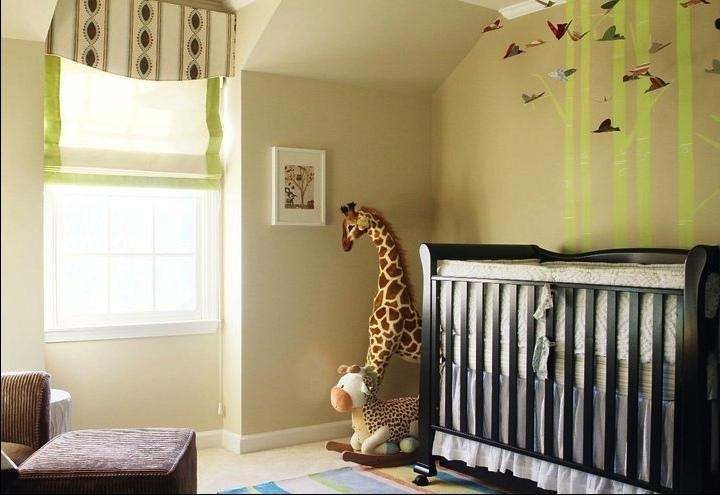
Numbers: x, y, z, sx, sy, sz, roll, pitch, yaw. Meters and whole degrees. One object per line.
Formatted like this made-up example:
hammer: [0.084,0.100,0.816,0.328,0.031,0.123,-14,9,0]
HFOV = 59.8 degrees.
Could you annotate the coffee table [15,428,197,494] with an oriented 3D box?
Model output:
coffee table: [-1.153,1.047,2.911,0.736,0.272,0.454,0,1,-9]

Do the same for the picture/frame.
picture/frame: [-0.431,-0.429,4.223,0.516,0.733,0.077,0,-3,-31]

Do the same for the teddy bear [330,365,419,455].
teddy bear: [0.092,1.013,3.890,0.520,0.528,0.249,0,1,4]
